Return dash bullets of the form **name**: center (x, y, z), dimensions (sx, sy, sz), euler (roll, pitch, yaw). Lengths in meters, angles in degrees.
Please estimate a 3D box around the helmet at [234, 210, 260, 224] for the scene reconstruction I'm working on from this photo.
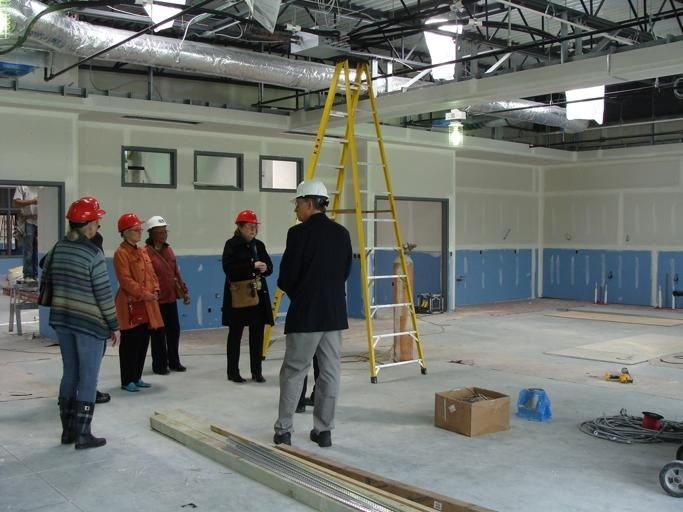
- **helmet**: center (-1.123, -0.431, 6.525), dimensions (0.374, 0.173, 0.269), euler (-1, 0, 40)

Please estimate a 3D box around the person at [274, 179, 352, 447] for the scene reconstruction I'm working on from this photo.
- **person**: center (-0.228, 0.466, 4.649), dimensions (0.643, 2.174, 0.379), euler (0, 2, -6)

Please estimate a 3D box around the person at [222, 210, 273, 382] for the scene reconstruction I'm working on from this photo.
- **person**: center (-1.075, 0.466, 6.546), dimensions (0.636, 1.981, 0.556), euler (1, 2, 10)

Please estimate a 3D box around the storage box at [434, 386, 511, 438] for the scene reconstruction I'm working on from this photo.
- **storage box**: center (1.192, 1.395, 5.177), dimensions (0.601, 0.299, 0.446), euler (-1, 3, -28)

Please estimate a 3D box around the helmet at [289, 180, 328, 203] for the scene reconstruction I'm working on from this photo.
- **helmet**: center (-0.256, -0.537, 4.716), dimensions (0.239, 0.114, 0.172), euler (9, 4, 23)

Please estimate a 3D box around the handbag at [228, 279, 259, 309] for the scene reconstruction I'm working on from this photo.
- **handbag**: center (-1.078, 0.411, 6.354), dimensions (0.354, 0.298, 0.155), euler (-2, -2, -5)

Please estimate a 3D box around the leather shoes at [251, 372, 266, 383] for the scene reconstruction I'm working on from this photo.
- **leather shoes**: center (-0.969, 1.406, 6.642), dimensions (0.070, 0.075, 0.191), euler (0, -3, -43)

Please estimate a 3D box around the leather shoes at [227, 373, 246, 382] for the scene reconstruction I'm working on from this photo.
- **leather shoes**: center (-1.222, 1.412, 6.654), dimensions (0.219, 0.084, 0.080), euler (0, -1, 27)

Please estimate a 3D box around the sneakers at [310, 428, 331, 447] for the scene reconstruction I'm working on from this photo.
- **sneakers**: center (-0.182, 1.488, 4.690), dimensions (0.095, 0.121, 0.199), euler (0, 5, -23)

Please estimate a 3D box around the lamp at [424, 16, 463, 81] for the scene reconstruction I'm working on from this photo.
- **lamp**: center (1.586, -3.251, 8.810), dimensions (0.563, 1.318, 1.467), euler (1, 2, 12)

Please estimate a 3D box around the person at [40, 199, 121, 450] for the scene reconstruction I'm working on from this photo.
- **person**: center (-2.116, 0.540, 4.590), dimensions (0.637, 2.019, 0.324), euler (1, 2, 14)
